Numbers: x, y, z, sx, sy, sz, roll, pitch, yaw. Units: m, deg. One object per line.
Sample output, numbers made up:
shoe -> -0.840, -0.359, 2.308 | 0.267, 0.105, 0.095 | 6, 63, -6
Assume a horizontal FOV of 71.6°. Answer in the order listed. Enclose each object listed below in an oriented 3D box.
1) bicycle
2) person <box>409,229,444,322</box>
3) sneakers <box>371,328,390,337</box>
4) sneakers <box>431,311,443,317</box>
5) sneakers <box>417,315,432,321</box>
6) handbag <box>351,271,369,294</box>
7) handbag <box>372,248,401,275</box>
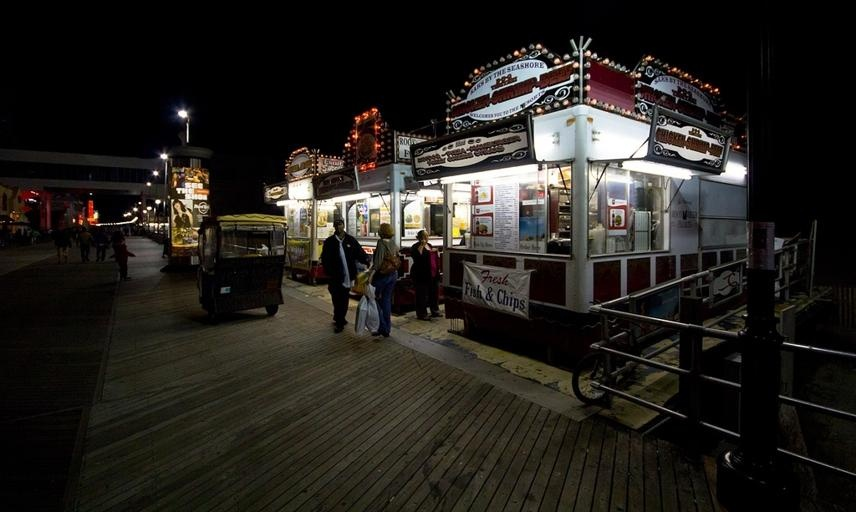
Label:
bicycle -> 3.764, 2.265, 12.754 | 2.502, 1.478, 1.206 | 8, -7, -38
person -> -0.042, 0.488, 16.061 | 0.662, 2.458, 1.195 | 2, 8, 14
sneakers -> -1.133, 1.847, 14.334 | 0.517, 0.227, 0.171 | -2, -1, 6
sneakers -> 0.251, 1.595, 16.369 | 0.330, 0.223, 0.114 | -5, 6, -35
sneakers -> -0.107, 1.655, 16.008 | 0.389, 0.160, 0.130 | -2, -1, 9
handbag -> -1.678, 0.629, 14.625 | 0.313, 0.534, 0.441 | 24, 18, 31
handbag -> -0.981, 0.164, 14.200 | 0.577, 0.549, 0.411 | -1, 3, 15
